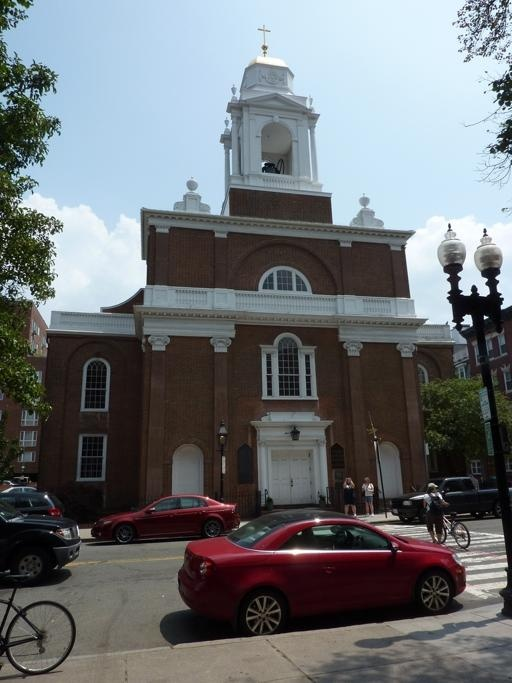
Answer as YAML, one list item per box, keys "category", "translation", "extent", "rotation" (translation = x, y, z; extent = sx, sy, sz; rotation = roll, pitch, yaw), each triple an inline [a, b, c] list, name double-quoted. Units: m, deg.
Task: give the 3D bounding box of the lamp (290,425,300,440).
- category: "lamp"
  translation: [1.870, 4.066, 23.972]
  extent: [0.563, 0.766, 0.562]
  rotation: [0, -8, -4]

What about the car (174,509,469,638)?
- category: "car"
  translation: [0.918, 2.957, 7.148]
  extent: [3.558, 1.216, 1.568]
  rotation: [-1, -13, -14]

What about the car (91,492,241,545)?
- category: "car"
  translation: [-2.698, 5.416, 16.397]
  extent: [4.245, 1.258, 1.705]
  rotation: [4, -17, -9]
